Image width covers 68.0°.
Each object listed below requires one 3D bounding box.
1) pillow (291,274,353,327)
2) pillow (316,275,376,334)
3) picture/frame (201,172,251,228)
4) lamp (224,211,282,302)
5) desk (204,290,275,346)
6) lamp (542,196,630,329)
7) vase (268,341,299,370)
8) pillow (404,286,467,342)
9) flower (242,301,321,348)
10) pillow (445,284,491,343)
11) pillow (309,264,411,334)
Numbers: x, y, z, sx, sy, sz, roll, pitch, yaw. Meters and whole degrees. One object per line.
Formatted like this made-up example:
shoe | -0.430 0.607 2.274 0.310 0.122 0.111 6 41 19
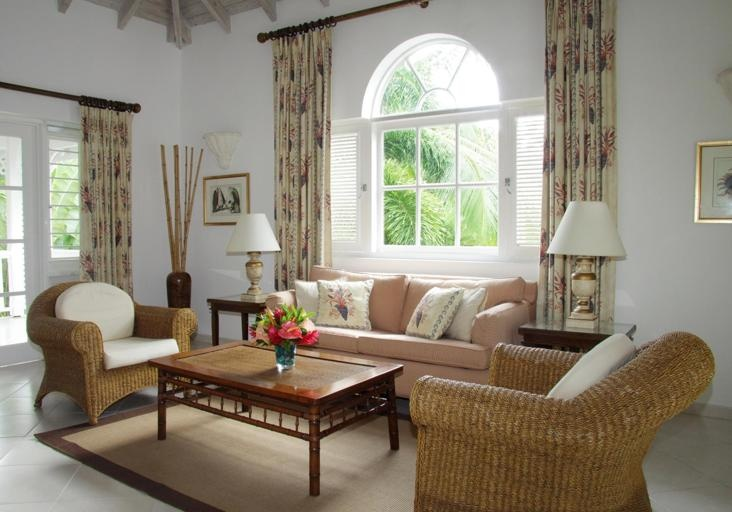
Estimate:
pillow | -0.454 0.384 5.154 0.721 0.665 0.347 2 9 1
pillow | -0.179 0.467 4.946 0.466 0.398 0.159 3 -17 11
picture/frame | -1.629 -0.678 6.426 0.775 0.637 0.028 2 6 34
lamp | -1.154 -0.035 5.672 0.533 0.834 0.666 -2 11 -9
desk | -1.278 0.523 5.633 0.741 0.691 0.568 1 3 33
lamp | 1.760 0.038 4.256 0.497 0.938 0.621 8 14 36
vase | -0.565 0.692 3.818 0.205 0.282 0.185 0 -2 -11
pillow | 0.574 0.458 4.471 0.189 0.425 0.432 32 -20 -33
flower | -0.531 0.484 3.804 0.370 0.212 0.375 3 0 43
pillow | 0.824 0.467 4.434 0.146 0.384 0.392 32 -23 -28
pillow | 0.146 0.399 4.916 0.648 0.599 0.198 -3 -9 13
